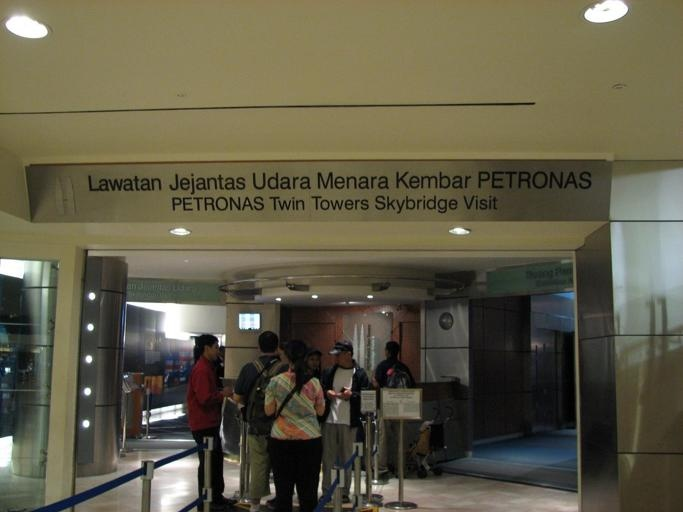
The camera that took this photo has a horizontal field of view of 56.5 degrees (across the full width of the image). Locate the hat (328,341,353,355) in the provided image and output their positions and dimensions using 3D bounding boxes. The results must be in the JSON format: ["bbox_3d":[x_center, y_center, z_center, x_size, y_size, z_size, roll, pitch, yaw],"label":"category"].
[{"bbox_3d":[-0.008,1.205,8.353,0.243,0.134,0.170,8,-13,-18],"label":"hat"}]

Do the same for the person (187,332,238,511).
[{"bbox_3d":[-1.530,1.934,7.369,0.559,2.050,1.197,3,-8,-10],"label":"person"}]

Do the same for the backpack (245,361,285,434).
[{"bbox_3d":[-0.792,1.467,6.587,0.430,0.826,0.591,7,-17,-12],"label":"backpack"}]

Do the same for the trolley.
[{"bbox_3d":[1.799,3.124,11.904,0.992,1.325,1.918,-7,-2,9],"label":"trolley"}]

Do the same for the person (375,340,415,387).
[{"bbox_3d":[0.773,1.645,9.762,0.619,0.995,0.688,-1,-9,10],"label":"person"}]

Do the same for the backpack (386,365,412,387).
[{"bbox_3d":[0.828,1.818,9.444,0.224,0.354,0.327,5,-22,-13],"label":"backpack"}]
